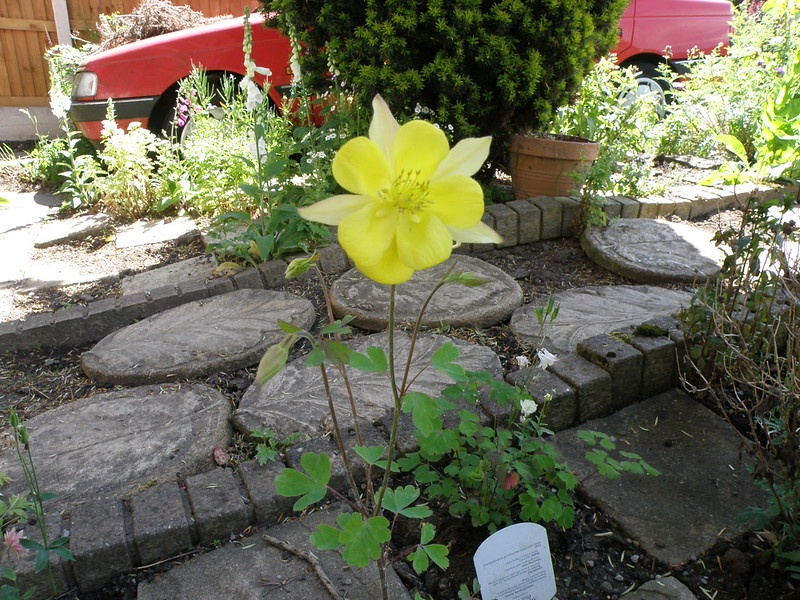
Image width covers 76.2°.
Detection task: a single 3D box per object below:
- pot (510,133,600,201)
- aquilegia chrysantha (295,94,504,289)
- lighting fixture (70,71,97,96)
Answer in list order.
[{"bbox_3d":[1.395,-1.175,4.532,0.783,0.554,0.789,-3,25,1],"label":"pot"},{"bbox_3d":[0.056,-0.241,1.209,0.435,0.190,0.469,24,65,13],"label":"aquilegia chrysantha"},{"bbox_3d":[-3.232,-2.189,5.228,0.368,0.248,0.139,19,31,28],"label":"lighting fixture"}]
